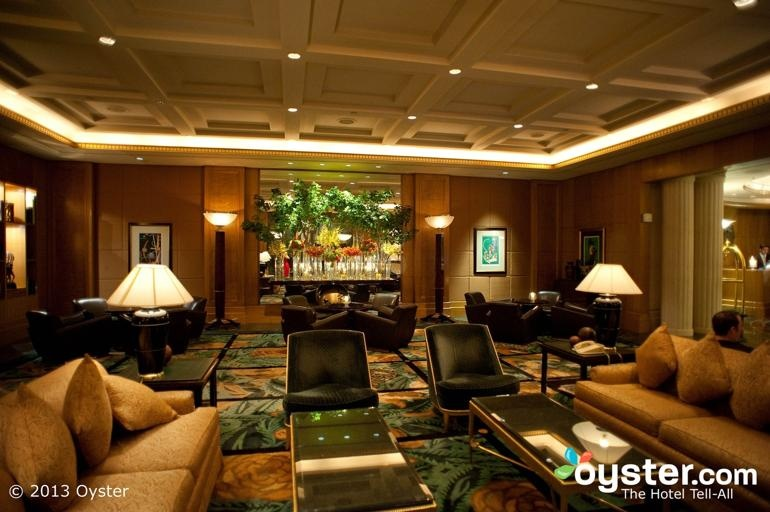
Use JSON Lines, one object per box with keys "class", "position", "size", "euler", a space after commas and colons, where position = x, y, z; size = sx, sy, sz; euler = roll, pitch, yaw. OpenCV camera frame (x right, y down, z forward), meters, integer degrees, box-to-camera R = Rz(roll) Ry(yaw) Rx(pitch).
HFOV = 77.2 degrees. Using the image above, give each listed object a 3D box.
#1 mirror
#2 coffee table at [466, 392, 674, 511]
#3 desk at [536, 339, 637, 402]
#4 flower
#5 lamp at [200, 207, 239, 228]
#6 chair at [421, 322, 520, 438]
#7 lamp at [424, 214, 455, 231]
{"class": "mirror", "position": [-1.241, -0.441, 10.549], "size": [3.596, 2.499, 0.879], "euler": [0, -1, -14]}
{"class": "coffee table", "position": [1.629, 1.783, 4.477], "size": [0.965, 0.605, 1.560], "euler": [-1, 2, -38]}
{"class": "desk", "position": [2.615, 1.347, 6.285], "size": [1.004, 0.855, 0.942], "euler": [2, -2, -22]}
{"class": "flower", "position": [-1.152, 0.079, 10.383], "size": [2.351, 0.821, 0.661], "euler": [0, 1, -14]}
{"class": "lamp", "position": [-3.511, -0.835, 10.412], "size": [0.663, 0.394, 0.714], "euler": [-1, 1, -17]}
{"class": "chair", "position": [0.978, 1.387, 5.996], "size": [1.060, 1.209, 1.218], "euler": [0, -16, -10]}
{"class": "lamp", "position": [1.236, -0.812, 11.238], "size": [0.560, 0.382, 0.808], "euler": [0, 1, 1]}
